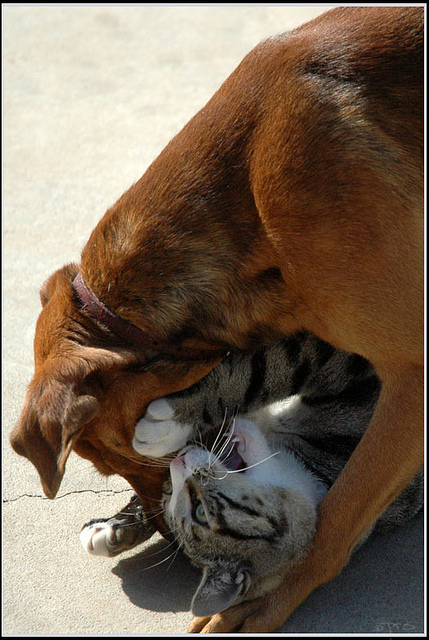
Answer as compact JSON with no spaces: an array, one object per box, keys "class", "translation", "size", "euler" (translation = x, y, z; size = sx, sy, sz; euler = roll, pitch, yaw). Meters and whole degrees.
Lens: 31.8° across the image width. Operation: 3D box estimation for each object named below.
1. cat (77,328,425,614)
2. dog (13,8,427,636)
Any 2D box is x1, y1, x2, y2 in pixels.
[{"class":"cat","translation":[0.136,0.501,2.496],"size":[0.503,0.637,1.450],"euler":[7,28,43]},{"class":"dog","translation":[0.088,0.007,2.372],"size":[1.283,1.844,1.103],"euler":[12,32,12]}]
